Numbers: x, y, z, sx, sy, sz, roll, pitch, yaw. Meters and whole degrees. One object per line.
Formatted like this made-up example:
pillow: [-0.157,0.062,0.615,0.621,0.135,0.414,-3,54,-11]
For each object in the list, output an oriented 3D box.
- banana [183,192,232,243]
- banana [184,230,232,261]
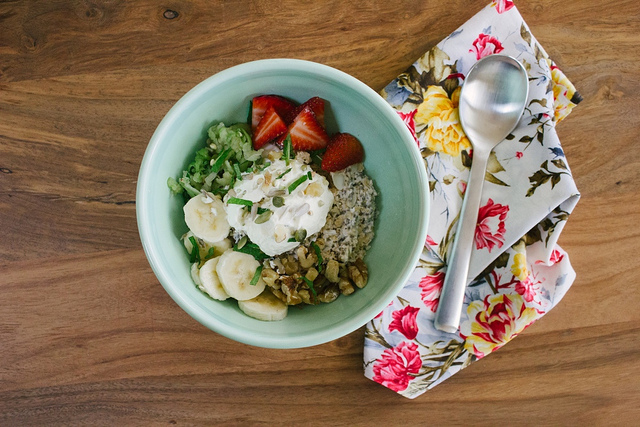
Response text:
banana: [-0.399,0.013,2.339,0.182,0.036,0.201,6,-54,15]
banana: [-0.390,0.096,2.349,0.131,0.044,0.132,39,-49,-6]
